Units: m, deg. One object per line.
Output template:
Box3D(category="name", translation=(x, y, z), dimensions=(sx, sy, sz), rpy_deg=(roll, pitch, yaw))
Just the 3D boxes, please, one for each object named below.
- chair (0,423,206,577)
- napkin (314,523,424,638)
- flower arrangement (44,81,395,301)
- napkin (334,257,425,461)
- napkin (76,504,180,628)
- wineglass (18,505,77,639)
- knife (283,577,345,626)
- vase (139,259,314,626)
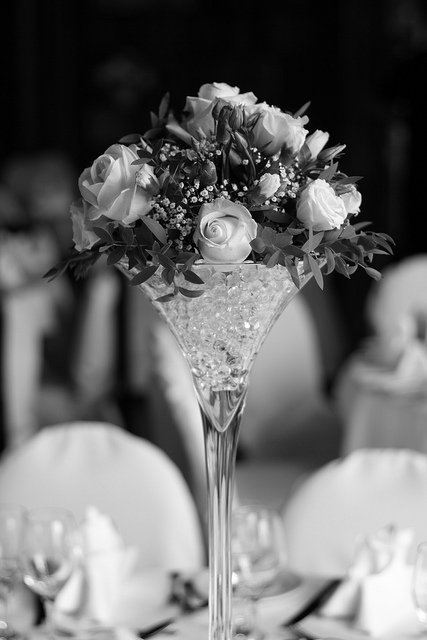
Box3D(category="chair", translation=(-0.244, 0.425, 1.746), dimensions=(0.405, 0.473, 0.401), rpy_deg=(1, -8, -7))
Box3D(category="napkin", translation=(0.223, 0.354, 0.915), dimensions=(0.107, 0.048, 0.141), rpy_deg=(1, 3, 24))
Box3D(category="flower arrangement", translation=(0.012, -0.154, 0.781), dimensions=(0.390, 0.225, 0.294), rpy_deg=(7, 24, 12))
Box3D(category="napkin", translation=(0.385, 0.085, 1.578), dimensions=(0.241, 0.416, 0.131), rpy_deg=(4, 4, 1))
Box3D(category="napkin", translation=(-0.126, 0.357, 1.004), dimensions=(0.145, 0.079, 0.155), rpy_deg=(1, 3, 25))
Box3D(category="wineglass", translation=(-0.218, 0.323, 0.879), dimensions=(0.075, 0.139, 0.148), rpy_deg=(-3, 24, -11))
Box3D(category="knife", translation=(0.145, 0.403, 0.953), dimensions=(0.033, 0.013, 0.125), rpy_deg=(2, 13, 42))
Box3D(category="vase", translation=(0.024, 0.126, 0.833), dimensions=(0.153, 0.466, 0.205), rpy_deg=(20, 30, 34))
